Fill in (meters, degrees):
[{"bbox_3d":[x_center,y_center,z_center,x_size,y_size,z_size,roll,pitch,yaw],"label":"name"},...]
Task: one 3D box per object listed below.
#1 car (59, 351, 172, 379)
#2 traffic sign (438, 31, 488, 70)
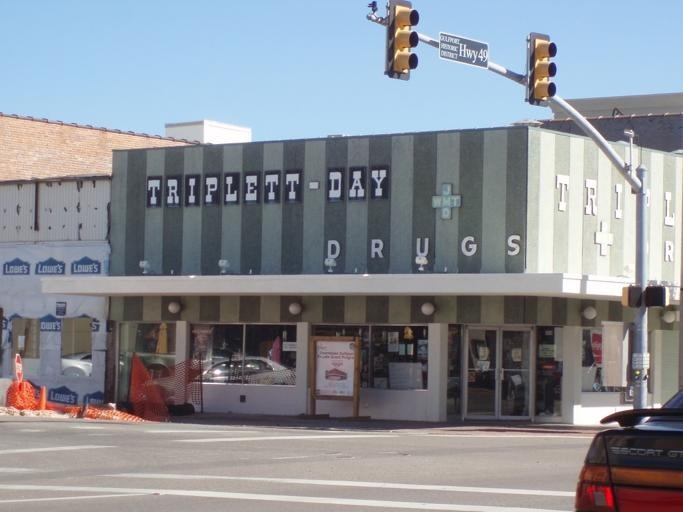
[{"bbox_3d":[-8.189,3.446,38.198,2.635,1.044,2.677,-1,-8,17],"label":"car"},{"bbox_3d":[2.555,-4.284,24.748,1.187,0.580,0.015,7,-8,-21],"label":"traffic sign"}]
